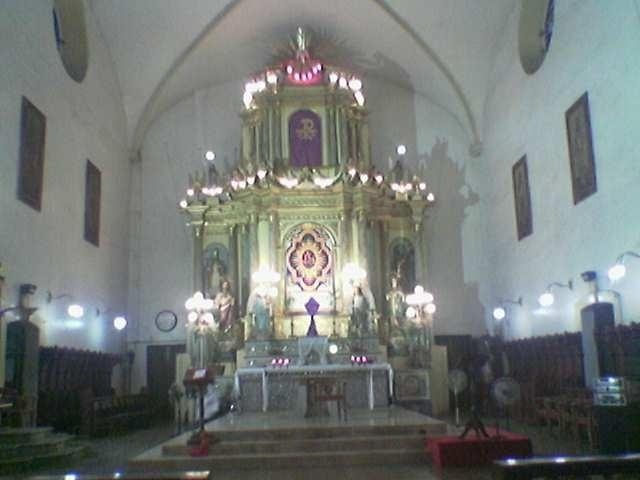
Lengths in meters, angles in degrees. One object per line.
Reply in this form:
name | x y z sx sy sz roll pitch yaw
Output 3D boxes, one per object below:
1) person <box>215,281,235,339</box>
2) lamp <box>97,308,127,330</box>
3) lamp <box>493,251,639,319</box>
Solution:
person | -2.955 2.077 16.590 0.676 1.682 0.376 5 -14 -27
lamp | -6.206 2.412 16.292 0.685 0.598 1.933 -1 -15 -8
lamp | 5.907 1.073 12.232 0.481 0.651 3.480 29 -25 -5
